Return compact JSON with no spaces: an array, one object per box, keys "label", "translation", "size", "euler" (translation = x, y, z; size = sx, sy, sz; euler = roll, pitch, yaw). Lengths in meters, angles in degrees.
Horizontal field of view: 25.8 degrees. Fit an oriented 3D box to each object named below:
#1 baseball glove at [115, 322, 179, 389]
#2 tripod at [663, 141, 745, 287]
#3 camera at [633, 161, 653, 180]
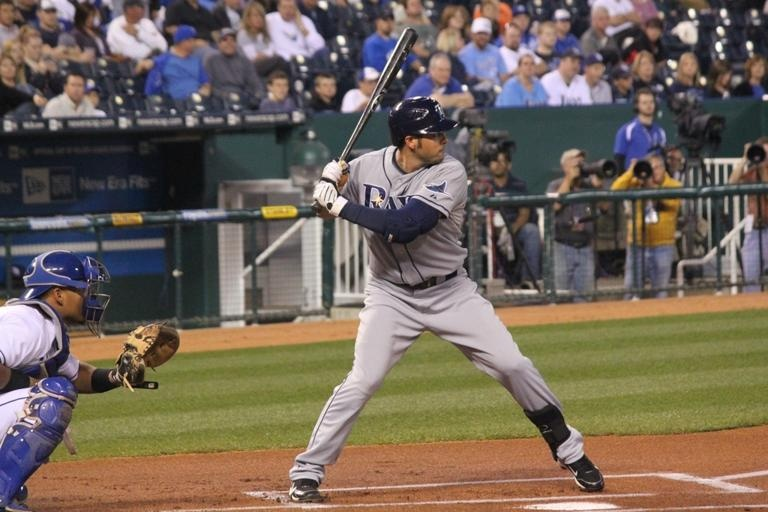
[{"label":"baseball glove","translation":[-2.356,0.992,16.542],"size":[0.473,0.740,0.571],"euler":[20,-28,-5]},{"label":"tripod","translation":[4.301,-0.465,21.794],"size":[1.782,1.917,1.165],"euler":[0,0,-40]},{"label":"camera","translation":[3.296,-1.098,21.227],"size":[0.233,0.226,0.171],"euler":[-19,0,5]}]
